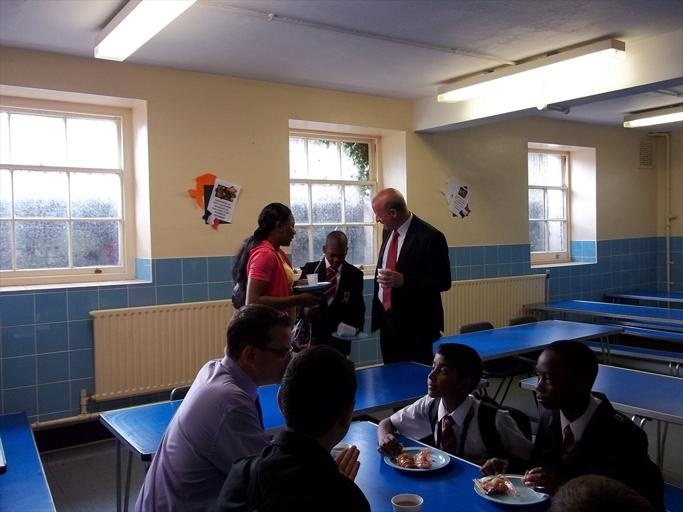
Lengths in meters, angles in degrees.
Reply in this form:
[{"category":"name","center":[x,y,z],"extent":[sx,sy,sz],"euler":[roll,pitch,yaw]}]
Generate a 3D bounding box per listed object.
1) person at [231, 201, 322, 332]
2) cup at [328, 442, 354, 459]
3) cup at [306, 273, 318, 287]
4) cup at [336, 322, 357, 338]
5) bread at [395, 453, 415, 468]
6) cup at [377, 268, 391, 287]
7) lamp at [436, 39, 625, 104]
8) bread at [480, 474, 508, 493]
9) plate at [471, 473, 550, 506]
[{"category":"person","center":[-0.362,-0.059,3.414],"extent":[0.673,1.233,0.593],"euler":[-3,12,-7]},{"category":"cup","center":[0.001,0.800,2.060],"extent":[0.094,0.091,0.096],"euler":[3,-7,0]},{"category":"cup","center":[-0.200,0.152,3.248],"extent":[0.069,0.057,0.072],"euler":[-1,-5,0]},{"category":"cup","center":[0.027,0.464,3.174],"extent":[0.102,0.097,0.101],"euler":[1,2,0]},{"category":"bread","center":[0.253,0.802,1.941],"extent":[0.074,0.028,0.089],"euler":[-2,4,4]},{"category":"cup","center":[0.292,0.150,3.443],"extent":[0.084,0.119,0.115],"euler":[-8,-12,16]},{"category":"lamp","center":[1.644,-1.656,4.397],"extent":[1.557,0.262,0.598],"euler":[1,6,39]},{"category":"bread","center":[0.552,0.804,1.753],"extent":[0.054,0.016,0.049],"euler":[-6,4,-37]},{"category":"plate","center":[0.594,0.822,1.748],"extent":[0.224,0.041,0.185],"euler":[-3,4,-18]}]
